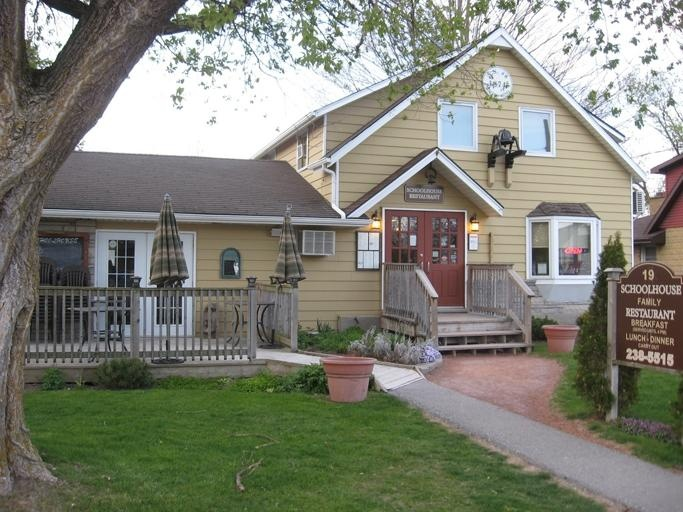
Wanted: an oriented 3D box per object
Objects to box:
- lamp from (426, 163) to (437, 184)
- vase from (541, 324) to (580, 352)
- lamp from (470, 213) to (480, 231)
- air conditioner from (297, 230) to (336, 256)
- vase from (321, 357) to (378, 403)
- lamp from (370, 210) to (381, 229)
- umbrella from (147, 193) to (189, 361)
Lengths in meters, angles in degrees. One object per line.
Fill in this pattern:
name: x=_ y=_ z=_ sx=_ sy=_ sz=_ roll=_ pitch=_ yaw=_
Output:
lamp: x=2.436 y=-2.143 z=16.965 sx=0.361 sy=0.544 sz=0.175 roll=-2 pitch=6 yaw=-30
vase: x=5.147 y=1.957 z=15.111 sx=0.616 sy=0.484 sz=0.653 roll=1 pitch=-9 yaw=-2
lamp: x=3.709 y=-0.883 z=17.466 sx=0.217 sy=0.477 sz=0.396 roll=6 pitch=7 yaw=42
air conditioner: x=-0.585 y=-0.303 z=15.953 sx=0.972 sy=0.791 sz=0.552 roll=1 pitch=-1 yaw=-11
vase: x=0.126 y=2.018 z=10.383 sx=0.711 sy=0.562 sz=0.751 roll=1 pitch=-8 yaw=-6
lamp: x=0.889 y=-0.917 z=16.612 sx=0.157 sy=0.504 sz=0.323 roll=6 pitch=7 yaw=40
umbrella: x=-3.277 y=0.301 z=12.252 sx=0.623 sy=2.840 sz=0.735 roll=-6 pitch=2 yaw=3
